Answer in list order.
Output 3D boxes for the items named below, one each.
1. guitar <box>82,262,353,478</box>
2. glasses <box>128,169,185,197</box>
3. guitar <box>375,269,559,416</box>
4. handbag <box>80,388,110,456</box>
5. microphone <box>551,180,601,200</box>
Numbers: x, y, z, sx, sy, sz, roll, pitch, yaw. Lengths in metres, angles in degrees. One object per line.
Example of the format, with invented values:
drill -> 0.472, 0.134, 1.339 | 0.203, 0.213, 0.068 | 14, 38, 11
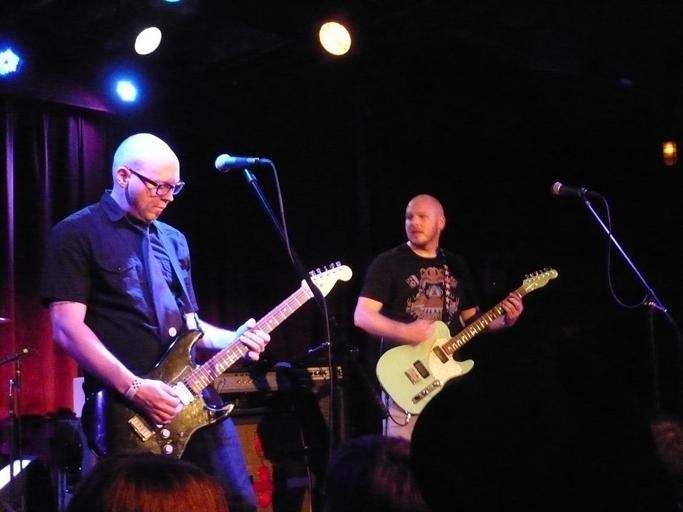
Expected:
guitar -> -0.679, 0.666, 3.787 | 0.435, 1.420, 0.151 | 52, -36, -8
glasses -> -0.962, -0.381, 3.404 | 0.167, 0.052, 0.168 | 34, 6, 10
guitar -> 0.635, 0.678, 4.382 | 0.803, 0.778, 0.228 | 11, -15, -26
handbag -> -1.179, 0.788, 3.149 | 0.162, 0.306, 0.046 | -1, -14, 21
microphone -> 1.722, -0.478, 4.795 | 0.359, 0.106, 0.112 | 19, 11, 32
